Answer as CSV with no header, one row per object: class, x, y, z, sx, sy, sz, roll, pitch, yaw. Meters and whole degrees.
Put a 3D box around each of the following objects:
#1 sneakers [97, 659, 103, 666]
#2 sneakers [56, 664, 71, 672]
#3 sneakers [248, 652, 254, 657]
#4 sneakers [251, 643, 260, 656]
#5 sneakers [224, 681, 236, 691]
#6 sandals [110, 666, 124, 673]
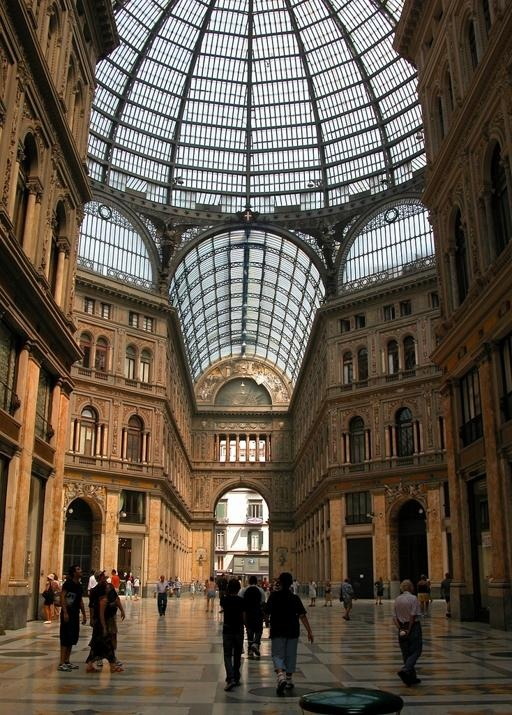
sneakers,-2.268,4.453,8.529,0.087,0.094,0.368,5,-23,-11
sneakers,-2.609,4.248,8.001,0.213,0.103,0.075,2,-9,2
sneakers,-0.095,5.564,10.952,0.100,0.137,0.081,1,-32,-2
sneakers,0.004,5.461,10.906,0.097,0.127,0.293,-4,3,-3
sneakers,-0.287,3.703,6.575,0.065,0.079,0.181,10,-32,-15
sandals,-1.859,4.168,7.833,0.211,0.086,0.077,1,-9,-12
